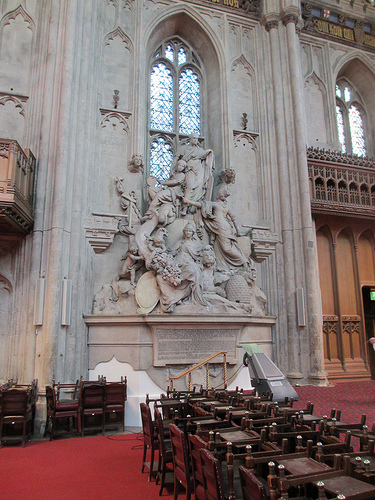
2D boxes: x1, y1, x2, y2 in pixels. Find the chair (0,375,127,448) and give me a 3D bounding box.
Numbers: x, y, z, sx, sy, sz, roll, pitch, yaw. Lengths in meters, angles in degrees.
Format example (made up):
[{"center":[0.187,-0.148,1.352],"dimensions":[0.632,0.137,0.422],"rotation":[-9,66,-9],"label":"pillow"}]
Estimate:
[{"center":[-2.049,2.595,7.493],"dimensions":[2.052,0.959,1.059],"rotation":[0,-8,-31],"label":"chair"}]
